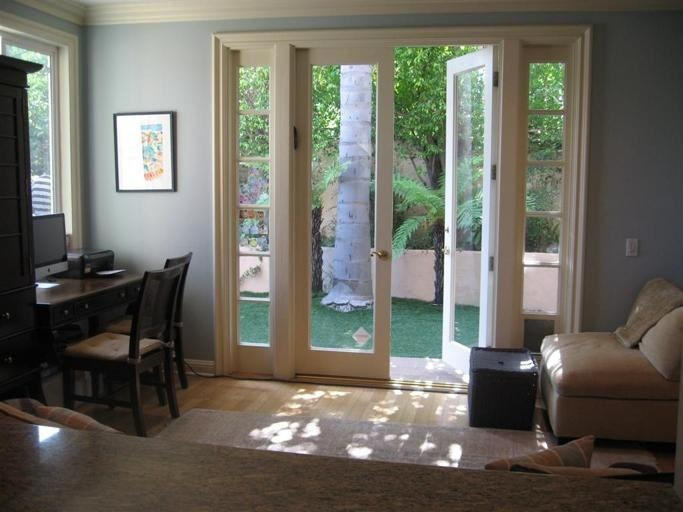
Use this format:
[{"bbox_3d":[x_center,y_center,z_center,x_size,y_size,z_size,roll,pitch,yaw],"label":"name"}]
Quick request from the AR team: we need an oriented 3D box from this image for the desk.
[{"bbox_3d":[-1.648,0.559,3.445,0.334,0.462,0.876,3,13,7],"label":"desk"}]

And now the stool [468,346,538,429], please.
[{"bbox_3d":[1.079,0.877,3.577,0.403,0.391,0.494,3,8,20],"label":"stool"}]

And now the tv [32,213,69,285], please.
[{"bbox_3d":[-2.021,-0.048,3.660,0.156,0.468,0.467,2,7,6],"label":"tv"}]

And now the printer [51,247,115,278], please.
[{"bbox_3d":[-1.949,-0.002,3.996,0.210,0.131,0.290,5,8,15],"label":"printer"}]

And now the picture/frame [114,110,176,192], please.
[{"bbox_3d":[-1.553,-0.863,4.229,0.640,0.727,0.034,2,5,13],"label":"picture/frame"}]

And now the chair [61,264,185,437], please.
[{"bbox_3d":[-1.366,0.560,3.333,0.707,1.060,0.645,5,-11,-11],"label":"chair"}]
